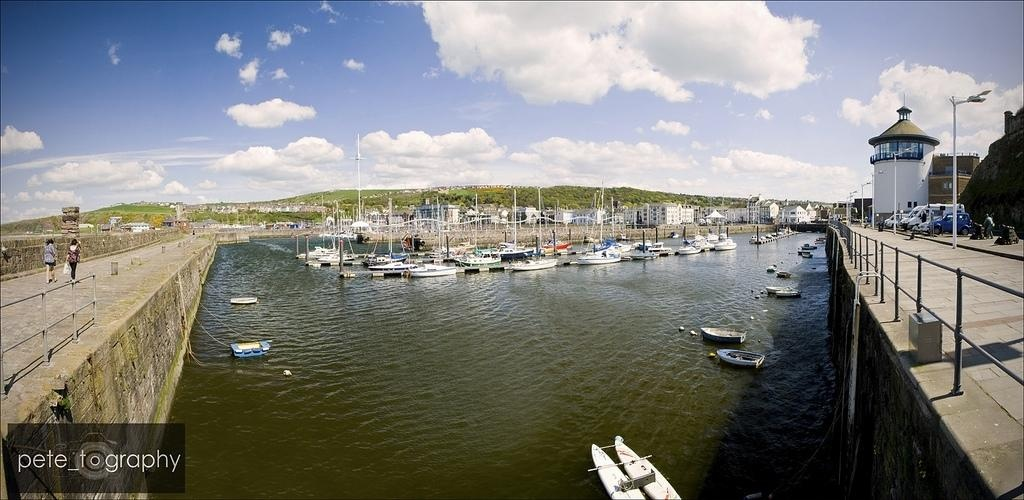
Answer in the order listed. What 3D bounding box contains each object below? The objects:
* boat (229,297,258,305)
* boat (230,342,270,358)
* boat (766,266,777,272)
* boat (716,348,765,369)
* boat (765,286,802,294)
[{"bbox_3d":[-27.361,5.204,56.669,1.828,0.316,1.135,1,7,-8],"label":"boat"},{"bbox_3d":[-20.265,7.717,43.241,2.183,0.529,1.437,-1,5,-28],"label":"boat"},{"bbox_3d":[35.605,2.691,76.683,1.114,0.707,3.253,0,8,23],"label":"boat"},{"bbox_3d":[16.923,8.062,41.352,2.369,0.524,1.640,2,7,14],"label":"boat"},{"bbox_3d":[28.357,4.322,58.267,2.107,0.415,1.442,1,8,8],"label":"boat"}]
